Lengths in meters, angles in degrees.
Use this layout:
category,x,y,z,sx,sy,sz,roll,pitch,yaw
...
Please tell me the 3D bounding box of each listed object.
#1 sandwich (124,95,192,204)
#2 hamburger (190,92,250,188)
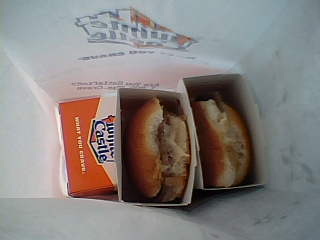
category,x,y,z,sx,sy,sz,roll,pitch,yaw
sandwich,0.015,0.099,0.891,0.116,0.359,0.252,-5,12,-42
hamburger,0.234,0.066,0.937,0.197,0.356,0.121,-1,-14,-36
